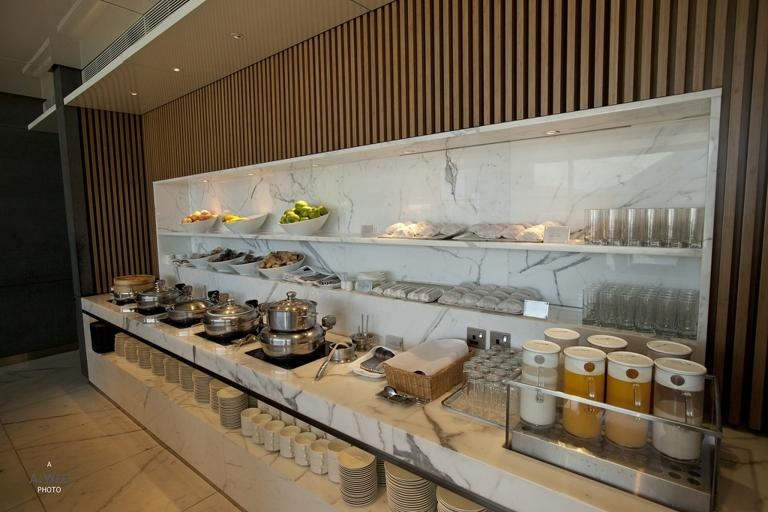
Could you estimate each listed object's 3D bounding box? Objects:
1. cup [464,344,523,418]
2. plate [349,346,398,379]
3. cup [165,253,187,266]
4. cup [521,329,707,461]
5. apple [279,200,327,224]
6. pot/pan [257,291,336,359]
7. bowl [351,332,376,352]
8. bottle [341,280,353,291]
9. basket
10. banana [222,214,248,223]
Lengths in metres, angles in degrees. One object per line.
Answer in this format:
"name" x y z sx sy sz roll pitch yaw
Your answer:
"cup" 0.564 0.688 2.548 0.262 0.129 0.415 4 6 44
"plate" -0.078 0.684 3.043 0.231 0.061 0.203 2 11 32
"cup" -2.246 0.031 5.101 0.425 0.111 0.103 9 17 42
"cup" 1.173 0.670 2.205 0.546 0.432 0.259 3 15 20
"apple" -0.671 -0.344 3.823 0.290 0.123 0.274 -1 0 9
"pot/pan" -0.624 0.470 3.295 0.331 0.415 0.400 11 18 42
"bowl" -0.151 0.606 3.349 0.155 0.060 0.140 0 -2 0
"bottle" -0.290 0.222 3.576 0.084 0.047 0.082 0 1 0
"basket" 0.252 0.672 2.795 0.291 0.139 0.456 2 5 44
"banana" -1.469 -0.361 4.553 0.176 0.073 0.198 1 -5 4
